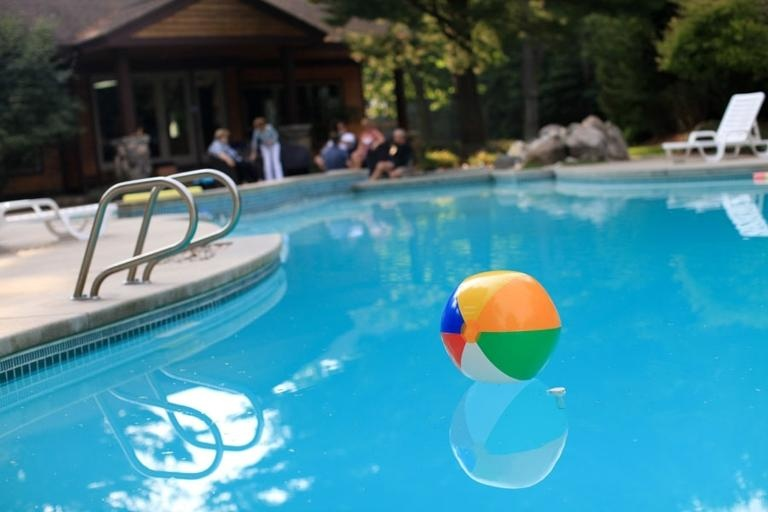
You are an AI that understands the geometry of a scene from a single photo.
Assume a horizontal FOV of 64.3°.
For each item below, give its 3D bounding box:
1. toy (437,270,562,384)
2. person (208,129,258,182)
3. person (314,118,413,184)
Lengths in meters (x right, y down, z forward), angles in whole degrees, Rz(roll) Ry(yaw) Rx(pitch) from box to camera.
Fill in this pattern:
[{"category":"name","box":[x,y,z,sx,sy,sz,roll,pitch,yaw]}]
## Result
[{"category":"toy","box":[0.718,0.449,3.784,0.722,0.639,0.307,-2,12,5]},{"category":"person","box":[-3.630,-2.299,14.465,1.021,1.395,0.840,6,16,33]},{"category":"person","box":[-0.362,-2.558,15.327,2.491,1.485,1.187,9,20,44]}]
